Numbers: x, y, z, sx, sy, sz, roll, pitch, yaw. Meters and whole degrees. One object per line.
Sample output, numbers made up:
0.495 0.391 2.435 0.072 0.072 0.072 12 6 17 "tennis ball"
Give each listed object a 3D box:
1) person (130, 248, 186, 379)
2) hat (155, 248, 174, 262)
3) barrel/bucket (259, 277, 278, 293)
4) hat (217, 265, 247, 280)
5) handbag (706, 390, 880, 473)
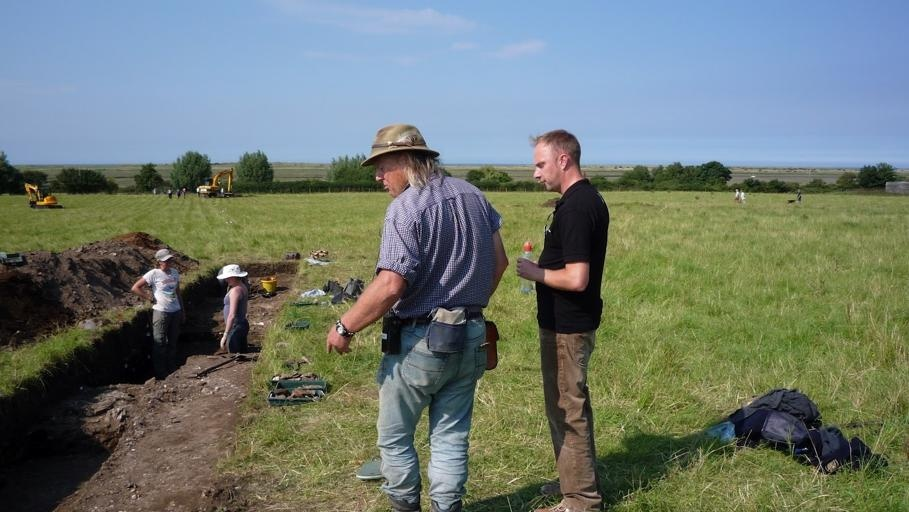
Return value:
-7.351 1.381 17.749 1.036 3.157 1.133 -9 13 -24 "person"
-7.748 -0.063 18.928 0.440 0.249 0.344 -17 -5 39 "hat"
-5.852 0.858 22.244 0.508 0.458 0.487 -1 -4 0 "barrel/bucket"
-5.398 0.316 17.169 0.569 0.320 0.835 -7 12 -17 "hat"
6.289 3.153 13.136 2.039 0.696 1.573 15 -3 15 "handbag"
